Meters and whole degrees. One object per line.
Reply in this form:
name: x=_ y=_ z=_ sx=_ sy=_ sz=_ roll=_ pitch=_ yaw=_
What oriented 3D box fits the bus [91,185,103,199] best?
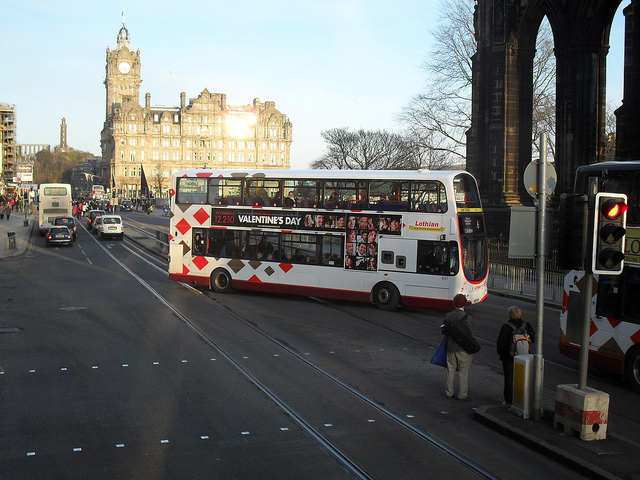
bus: x=-35.977 y=-7.484 z=106.914 sx=1.489 sy=2.353 sz=4.354 roll=1 pitch=11 yaw=-16

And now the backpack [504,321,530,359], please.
backpack: x=3.850 y=1.908 z=12.753 sx=0.405 sy=0.697 sz=0.365 roll=-4 pitch=2 yaw=-13

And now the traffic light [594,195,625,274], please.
traffic light: x=4.890 y=-0.100 z=11.170 sx=0.500 sy=1.304 sz=0.343 roll=2 pitch=6 yaw=10

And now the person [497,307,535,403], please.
person: x=3.792 y=2.112 z=12.885 sx=0.557 sy=1.943 sz=0.692 roll=0 pitch=4 yaw=7

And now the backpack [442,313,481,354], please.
backpack: x=2.837 y=1.890 z=13.217 sx=0.925 sy=0.394 sz=0.738 roll=31 pitch=10 yaw=24

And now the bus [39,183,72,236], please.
bus: x=-20.680 y=-2.866 z=51.754 sx=1.612 sy=2.623 sz=4.890 roll=0 pitch=9 yaw=-10

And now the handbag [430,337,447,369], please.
handbag: x=2.405 y=2.254 z=13.238 sx=0.301 sy=0.592 sz=0.493 roll=2 pitch=6 yaw=10
